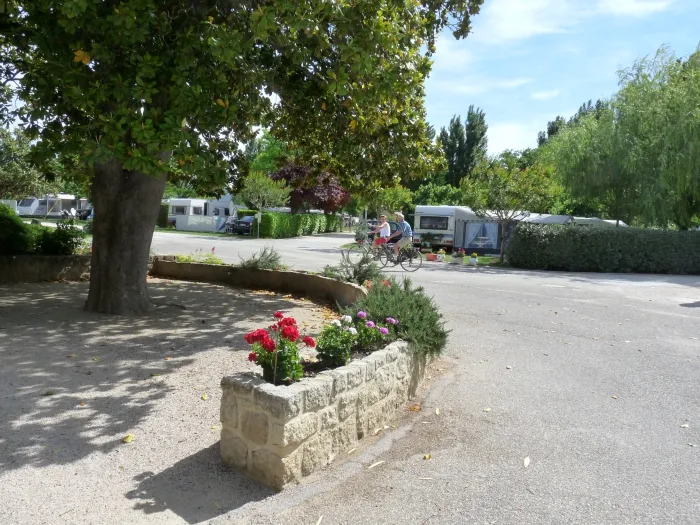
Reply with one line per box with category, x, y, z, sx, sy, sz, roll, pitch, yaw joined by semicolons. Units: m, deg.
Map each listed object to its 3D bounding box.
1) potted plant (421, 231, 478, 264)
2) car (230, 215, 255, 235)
potted plant;5.612;-1.263;30.479;3.099;1.387;0.555;5;9;10
car;-7.983;-2.806;38.991;0.929;1.508;2.611;-5;12;-40
